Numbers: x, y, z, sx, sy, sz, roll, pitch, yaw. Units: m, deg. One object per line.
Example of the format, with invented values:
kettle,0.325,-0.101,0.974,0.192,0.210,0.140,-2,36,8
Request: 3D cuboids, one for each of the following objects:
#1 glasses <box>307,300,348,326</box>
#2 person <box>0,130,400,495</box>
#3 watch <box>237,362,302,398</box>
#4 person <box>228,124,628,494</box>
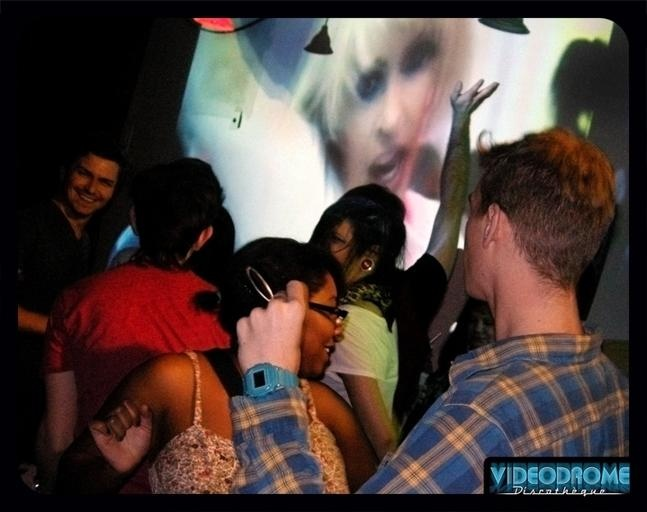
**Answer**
glasses,0.017,0.152,1.491,0.070,0.021,0.069,26,-9,0
person,-0.357,0.149,1.452,0.795,1.062,0.378,-4,34,1
watch,-0.140,0.303,1.325,0.103,0.078,0.101,-9,-17,29
person,0.329,0.150,1.368,0.972,0.979,0.341,4,11,-11
